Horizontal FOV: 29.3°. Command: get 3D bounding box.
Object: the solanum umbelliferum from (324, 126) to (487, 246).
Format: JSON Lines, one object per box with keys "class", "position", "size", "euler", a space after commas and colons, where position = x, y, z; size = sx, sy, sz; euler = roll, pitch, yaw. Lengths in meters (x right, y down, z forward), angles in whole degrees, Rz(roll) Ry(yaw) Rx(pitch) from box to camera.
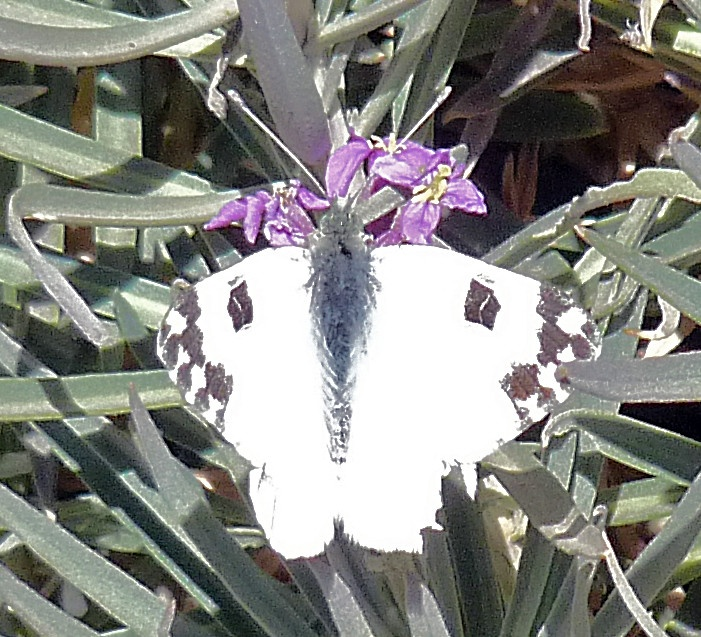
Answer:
{"class": "solanum umbelliferum", "position": [0.052, -0.098, 0.993], "size": [0.104, 0.105, 0.036], "euler": [-5, 71, -3]}
